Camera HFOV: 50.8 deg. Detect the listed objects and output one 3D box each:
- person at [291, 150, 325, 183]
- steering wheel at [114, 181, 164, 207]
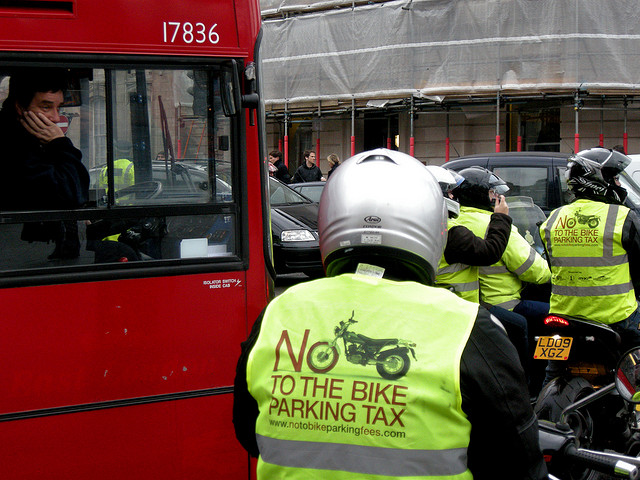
[{"bbox_3d":[-0.246,-1.517,15.194,0.636,1.080,0.466,3,-3,-7],"label":"person"},{"bbox_3d":[-1.035,-0.260,3.874,0.284,0.147,0.024,-15,2,-15],"label":"steering wheel"}]
